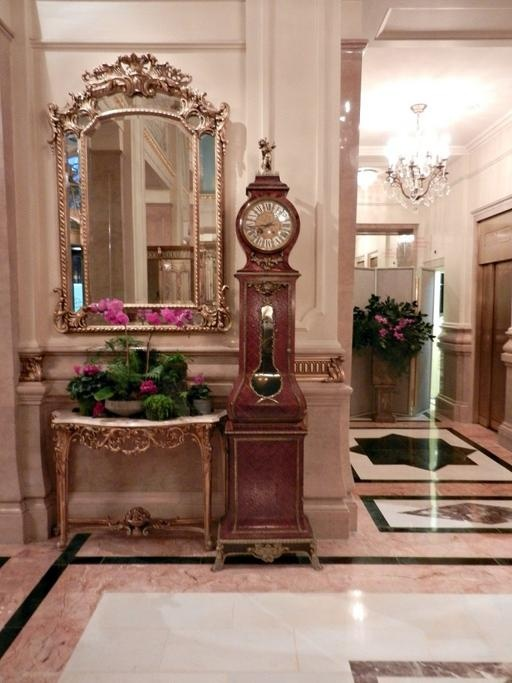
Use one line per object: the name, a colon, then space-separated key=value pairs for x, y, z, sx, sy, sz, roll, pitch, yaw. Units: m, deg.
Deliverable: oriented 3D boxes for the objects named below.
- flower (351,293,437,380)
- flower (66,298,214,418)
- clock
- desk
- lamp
flower: x=1.411 y=-0.029 z=6.816 sx=0.773 sy=0.710 sz=0.652 roll=-2 pitch=-3 yaw=40
flower: x=-0.643 y=0.082 z=3.576 sx=0.798 sy=0.621 sz=0.498 roll=1 pitch=7 yaw=-4
clock: x=0.070 y=0.058 z=3.272 sx=0.480 sy=2.119 sz=0.356 roll=2 pitch=7 yaw=5
desk: x=-0.649 y=0.748 z=3.613 sx=0.953 sy=0.640 sz=0.525 roll=-1 pitch=-8 yaw=-1
lamp: x=1.514 y=-1.720 z=6.066 sx=0.632 sy=0.917 sz=0.603 roll=-3 pitch=5 yaw=-28
